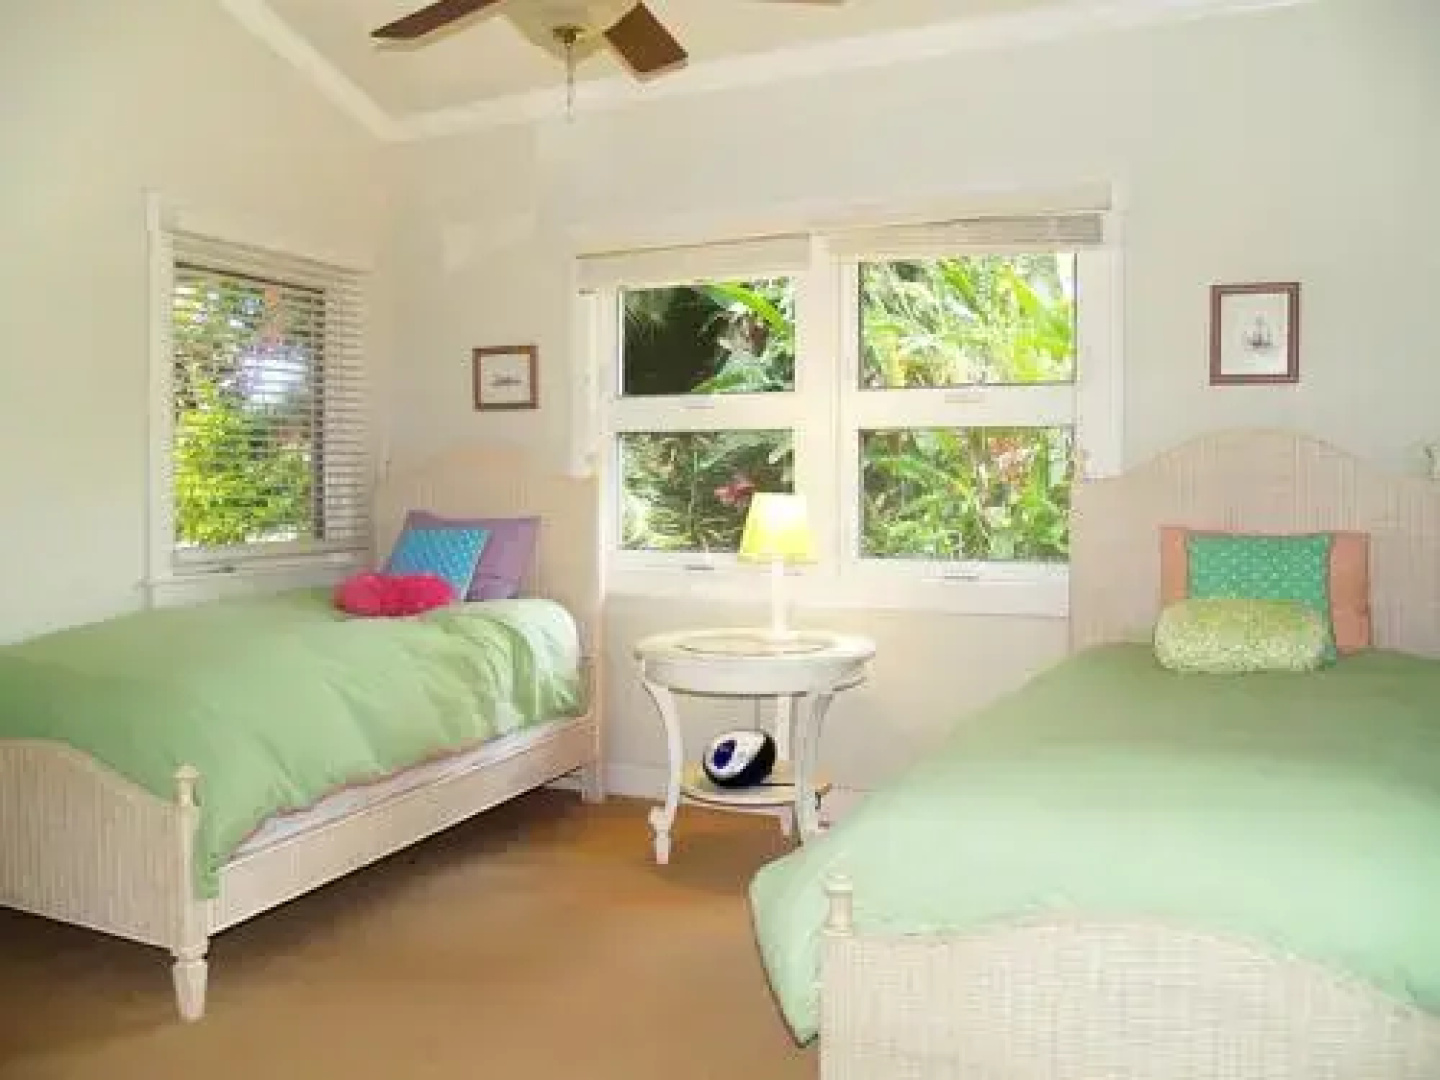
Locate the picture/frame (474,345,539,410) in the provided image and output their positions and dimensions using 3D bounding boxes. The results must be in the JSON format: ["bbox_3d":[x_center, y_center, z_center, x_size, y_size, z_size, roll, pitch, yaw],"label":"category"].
[{"bbox_3d":[-0.949,-0.731,4.594,0.307,0.261,0.025,2,5,26],"label":"picture/frame"}]

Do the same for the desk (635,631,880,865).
[{"bbox_3d":[0.107,0.739,3.720,0.888,0.765,0.868,-1,3,-29],"label":"desk"}]

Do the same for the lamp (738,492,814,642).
[{"bbox_3d":[0.200,0.092,3.598,0.203,0.503,0.205,-5,9,-40],"label":"lamp"}]

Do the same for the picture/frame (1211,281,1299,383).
[{"bbox_3d":[1.826,-0.708,3.469,0.357,0.453,0.047,1,-1,21],"label":"picture/frame"}]
